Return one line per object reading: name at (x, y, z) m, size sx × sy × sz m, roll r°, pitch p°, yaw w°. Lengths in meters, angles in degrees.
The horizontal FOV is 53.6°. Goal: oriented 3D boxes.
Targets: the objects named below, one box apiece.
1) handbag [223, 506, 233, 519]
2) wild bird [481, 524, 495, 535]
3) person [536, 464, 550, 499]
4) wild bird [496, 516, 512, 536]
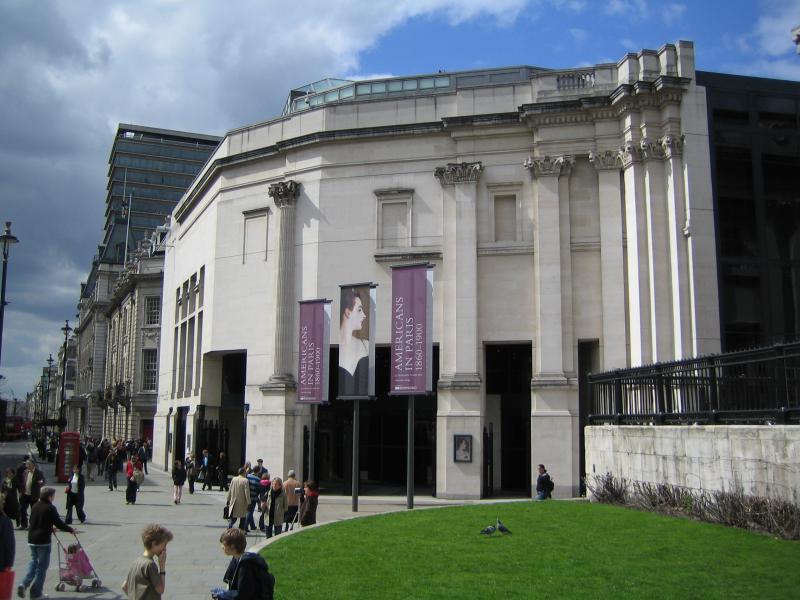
handbag at (-5.126, 6.295, 23.556) m, size 0.159 × 0.428 × 0.354 m, roll -2°, pitch -2°, yaw -16°
wild bird at (2.171, 5.895, 20.201) m, size 0.504 × 0.227 × 0.144 m, roll -4°, pitch -9°, yaw 11°
person at (5.249, 6.637, 28.795) m, size 0.529 × 1.025 × 1.492 m, roll -3°, pitch -2°, yaw 11°
wild bird at (2.636, 5.741, 20.089) m, size 0.387 × 0.299 × 0.394 m, roll -4°, pitch -2°, yaw 14°
